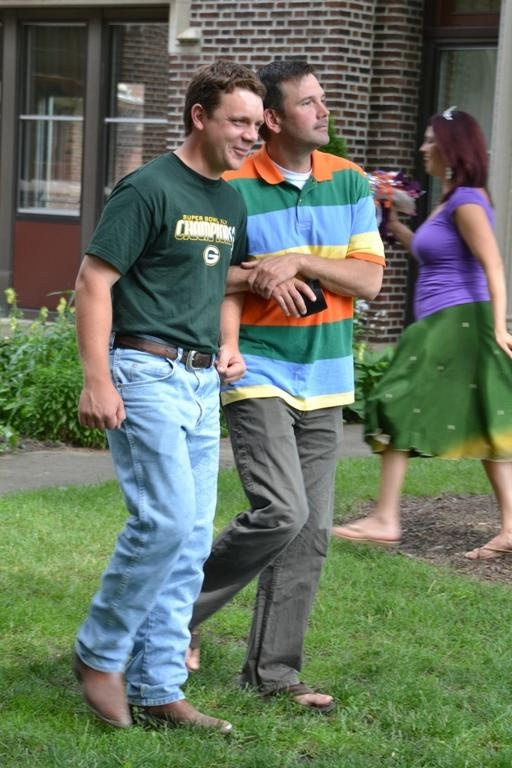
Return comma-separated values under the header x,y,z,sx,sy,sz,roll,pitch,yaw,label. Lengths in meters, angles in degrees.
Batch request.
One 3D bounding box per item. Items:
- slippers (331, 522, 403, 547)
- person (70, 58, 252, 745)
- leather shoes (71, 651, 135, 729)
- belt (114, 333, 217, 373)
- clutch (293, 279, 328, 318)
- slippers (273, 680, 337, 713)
x,y,z,sx,sy,sz,roll,pitch,yaw,label
0.584,0.799,3.979,0.352,0.092,0.123,9,-11,-12,slippers
-0.230,0.016,1.975,0.529,1.738,0.385,1,6,-27,person
-0.382,0.797,1.973,0.096,0.216,0.078,-37,3,-39,leather shoes
-0.249,-0.086,1.885,0.137,0.032,0.116,7,-10,24,belt
0.174,-0.252,2.240,0.068,0.108,0.149,4,4,8,clutch
0.145,0.903,2.178,0.220,0.083,0.070,-1,13,11,slippers
